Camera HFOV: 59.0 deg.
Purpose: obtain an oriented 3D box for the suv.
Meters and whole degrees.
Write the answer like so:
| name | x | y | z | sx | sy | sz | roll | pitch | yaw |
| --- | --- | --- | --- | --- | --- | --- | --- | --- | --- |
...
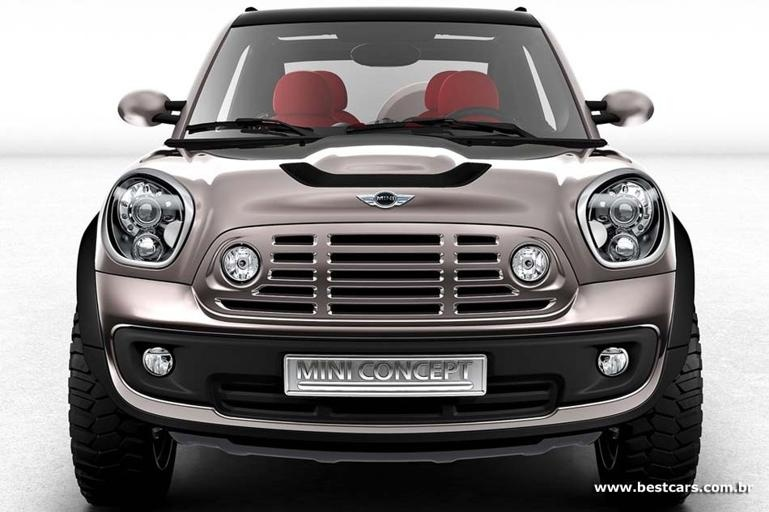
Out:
| name | x | y | z | sx | sy | sz | roll | pitch | yaw |
| --- | --- | --- | --- | --- | --- | --- | --- | --- | --- |
| suv | -0.017 | -0.245 | 3.741 | 2.045 | 1.504 | 3.080 | 0 | 1 | 1 |
